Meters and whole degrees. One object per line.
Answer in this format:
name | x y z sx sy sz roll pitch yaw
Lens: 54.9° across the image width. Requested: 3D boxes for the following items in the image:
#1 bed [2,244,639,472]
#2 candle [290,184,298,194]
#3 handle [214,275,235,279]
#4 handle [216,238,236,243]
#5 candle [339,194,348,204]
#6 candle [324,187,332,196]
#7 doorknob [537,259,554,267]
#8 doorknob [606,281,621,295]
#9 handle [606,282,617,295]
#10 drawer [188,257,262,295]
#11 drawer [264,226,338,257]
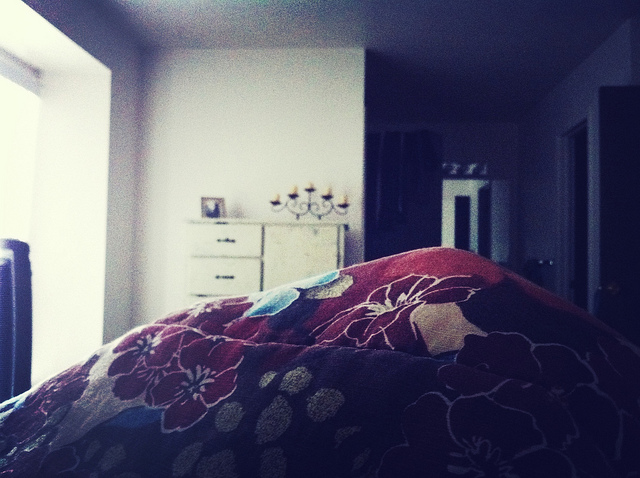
bed | 0.103 0.548 2.385 1.387 0.456 1.236 -8 -17 15
candle | -0.222 -0.422 5.228 0.057 0.080 0.077 1 -23 14
handle | -0.777 0.311 5.055 0.167 0.029 0.006 0 2 17
handle | -0.775 0.013 5.075 0.166 0.036 0.021 0 2 22
candle | 0.209 -0.346 5.272 0.078 0.075 0.019 -3 -14 36
candle | 0.071 -0.393 5.192 0.057 0.032 0.077 0 -47 1
doorknob | 2.194 0.236 5.955 0.148 0.080 0.231 0 2 18
doorknob | 2.038 0.340 4.256 0.083 0.087 0.020 9 -17 14
handle | 2.028 0.340 4.258 0.067 0.070 0.016 -10 -21 6
drawer | -0.843 0.312 5.218 0.646 0.314 0.340 1 -4 -28
drawer | -0.150 0.020 5.020 0.575 0.227 0.093 0 2 12
